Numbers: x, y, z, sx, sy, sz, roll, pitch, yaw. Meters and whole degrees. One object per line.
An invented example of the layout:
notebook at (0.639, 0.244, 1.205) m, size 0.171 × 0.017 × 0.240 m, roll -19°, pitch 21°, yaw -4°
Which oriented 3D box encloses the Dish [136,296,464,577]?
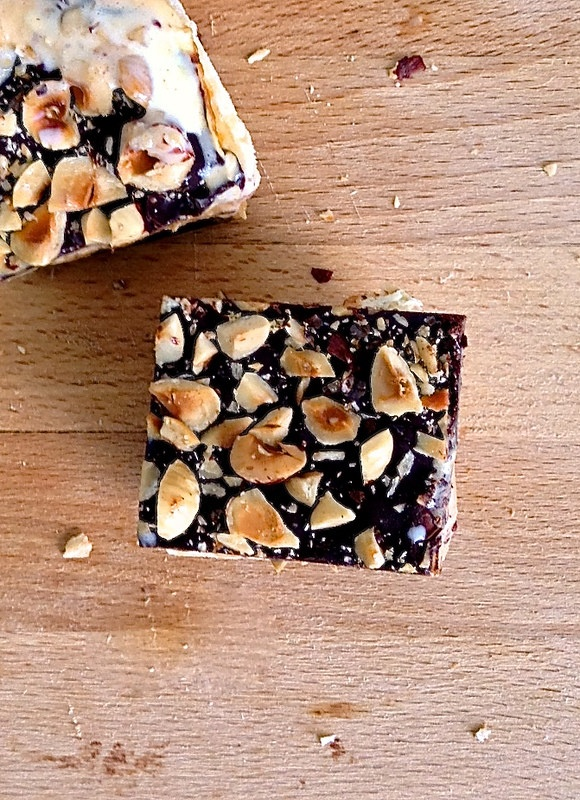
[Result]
Dish at (0.019, 0.059, 2.075) m, size 0.557 × 0.098 × 0.470 m, roll 5°, pitch 84°, yaw 1°
